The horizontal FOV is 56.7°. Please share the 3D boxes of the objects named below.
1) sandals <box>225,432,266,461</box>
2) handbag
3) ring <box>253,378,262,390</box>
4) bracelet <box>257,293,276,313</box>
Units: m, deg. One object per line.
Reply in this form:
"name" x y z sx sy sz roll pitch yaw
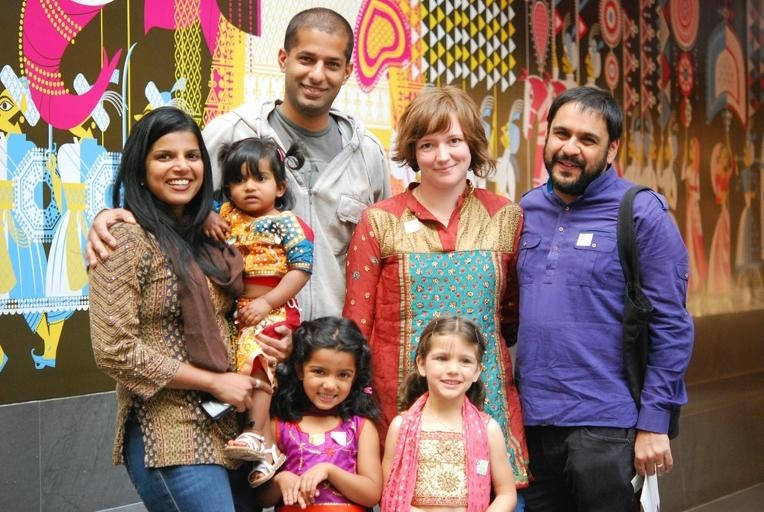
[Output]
"sandals" -0.644 0.930 3.430 0.199 0.086 0.101 14 -40 -38
"handbag" 1.356 0.501 3.704 0.399 0.721 0.178 1 -2 -39
"ring" -0.613 0.647 3.573 0.036 0.057 0.057 0 21 -30
"bracelet" -0.593 0.252 3.722 0.080 0.073 0.073 0 -29 -23
